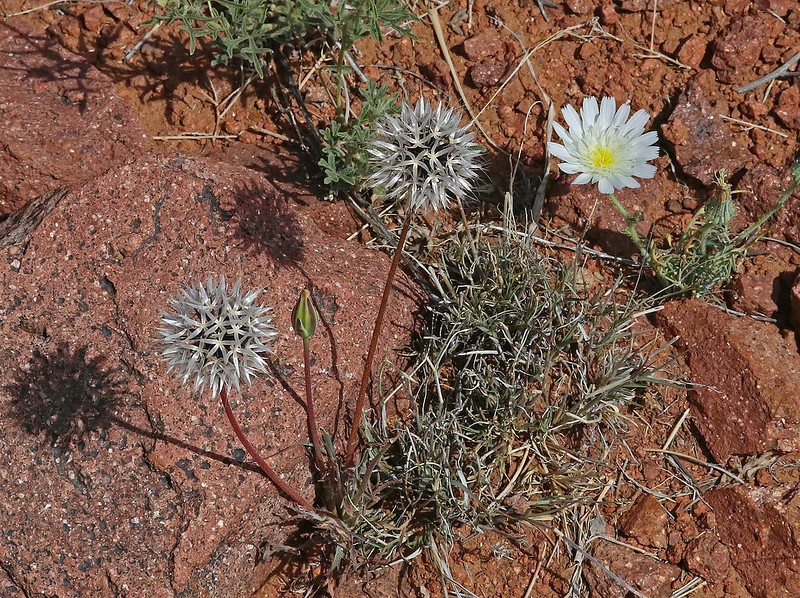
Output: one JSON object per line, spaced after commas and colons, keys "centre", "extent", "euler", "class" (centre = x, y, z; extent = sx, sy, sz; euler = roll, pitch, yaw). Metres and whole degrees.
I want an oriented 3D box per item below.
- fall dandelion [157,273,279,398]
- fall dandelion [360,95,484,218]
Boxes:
{"centre": [-0.828, 0.200, 3.353], "extent": [0.491, 0.471, 0.413], "euler": [17, 34, 7], "class": "fall dandelion"}
{"centre": [0.110, -0.644, 3.553], "extent": [0.525, 0.472, 0.451], "euler": [17, 34, 7], "class": "fall dandelion"}
